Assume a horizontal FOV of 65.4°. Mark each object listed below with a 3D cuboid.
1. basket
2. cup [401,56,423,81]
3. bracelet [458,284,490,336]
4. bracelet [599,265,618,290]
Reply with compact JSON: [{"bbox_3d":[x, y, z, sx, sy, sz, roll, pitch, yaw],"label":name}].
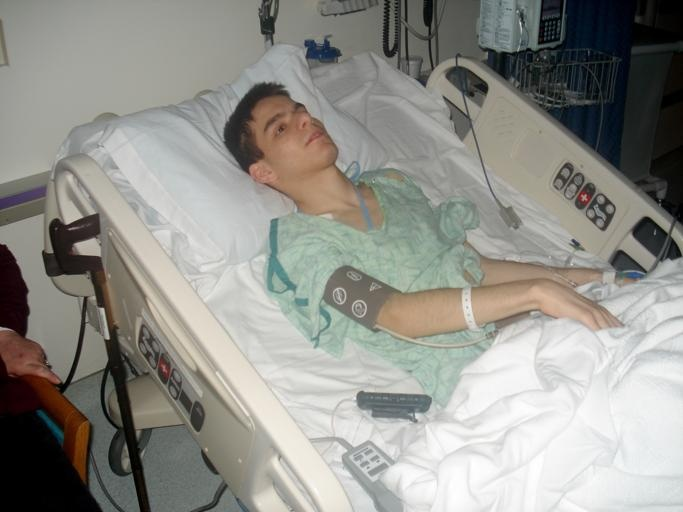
[{"bbox_3d":[1.121,-0.824,2.683,0.557,0.252,0.389,7,43,7],"label":"basket"},{"bbox_3d":[0.342,-0.919,2.645,0.133,0.132,0.147,-4,14,4],"label":"cup"},{"bbox_3d":[0.379,0.163,1.605,0.033,0.134,0.125,-9,-10,12],"label":"bracelet"},{"bbox_3d":[0.904,0.073,1.792,0.049,0.047,0.057,-8,4,20],"label":"bracelet"}]
